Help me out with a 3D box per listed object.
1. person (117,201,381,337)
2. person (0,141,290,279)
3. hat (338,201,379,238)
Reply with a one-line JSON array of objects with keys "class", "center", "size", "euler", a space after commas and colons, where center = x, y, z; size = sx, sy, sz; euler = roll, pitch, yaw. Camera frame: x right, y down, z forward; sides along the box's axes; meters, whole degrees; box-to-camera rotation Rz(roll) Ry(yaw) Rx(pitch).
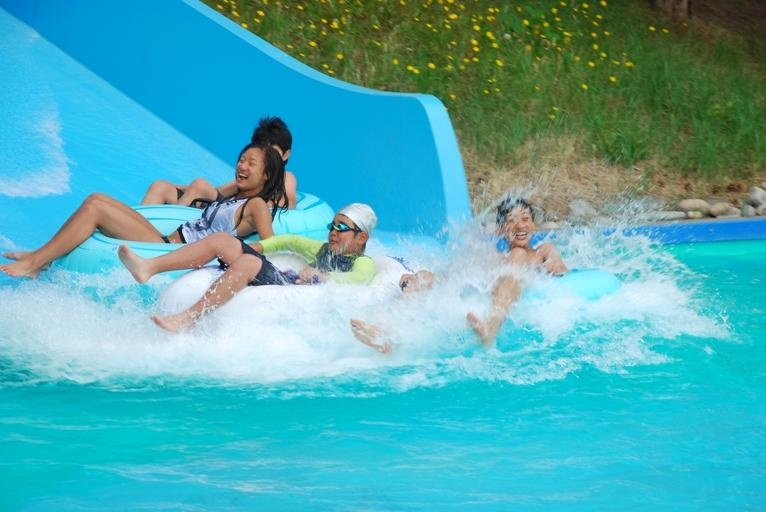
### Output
[{"class": "person", "center": [-0.677, 0.043, 3.807], "size": [1.512, 0.523, 0.689], "euler": [-9, 15, -31]}, {"class": "person", "center": [-1.545, -0.308, 4.422], "size": [1.509, 0.722, 0.935], "euler": [1, 10, -18]}, {"class": "hat", "center": [-0.144, -0.252, 4.032], "size": [0.193, 0.158, 0.216], "euler": [35, -2, 37]}]
